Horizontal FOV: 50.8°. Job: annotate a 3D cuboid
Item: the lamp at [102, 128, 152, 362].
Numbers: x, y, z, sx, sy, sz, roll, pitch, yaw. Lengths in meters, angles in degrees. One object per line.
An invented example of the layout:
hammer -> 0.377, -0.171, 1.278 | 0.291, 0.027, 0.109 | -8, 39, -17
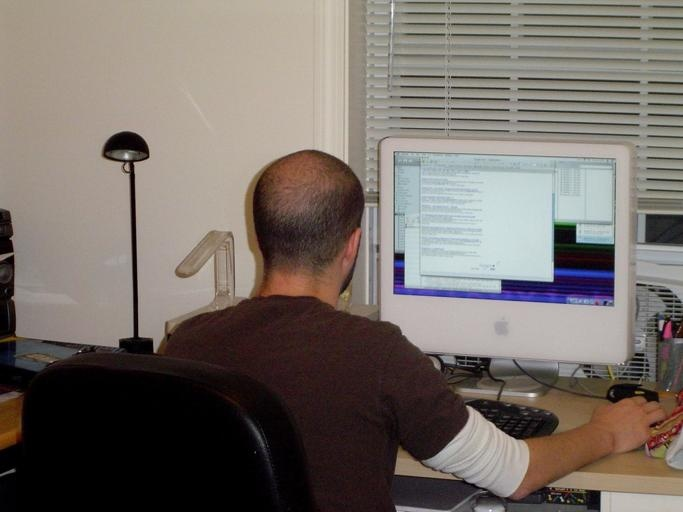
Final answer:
lamp -> -0.619, -0.041, 2.081 | 0.147, 0.637, 0.274 | 1, 1, -19

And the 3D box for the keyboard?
keyboard -> 0.388, 0.394, 1.710 | 0.157, 0.033, 0.209 | 16, -30, 6

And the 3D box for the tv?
tv -> 0.411, 0.004, 1.796 | 0.684, 0.570, 0.072 | 1, 1, 7

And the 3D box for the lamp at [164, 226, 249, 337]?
lamp -> -0.361, 0.082, 1.941 | 0.151, 0.260, 0.230 | 9, 18, 27
